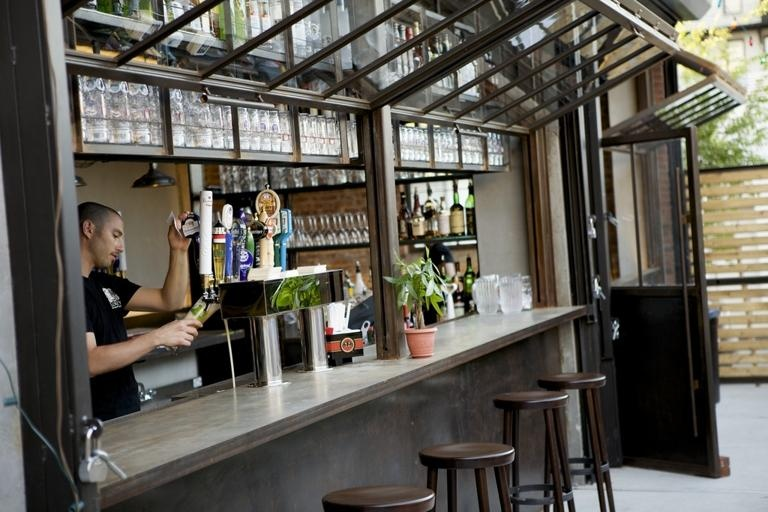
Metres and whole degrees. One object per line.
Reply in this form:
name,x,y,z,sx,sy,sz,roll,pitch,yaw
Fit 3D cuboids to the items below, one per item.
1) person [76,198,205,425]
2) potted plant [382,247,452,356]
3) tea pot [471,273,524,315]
person,-1.112,0.232,3.172,0.479,1.060,1.037,-5,2,-22
potted plant,0.053,0.237,3.532,0.472,0.633,0.417,0,-5,-15
tea pot,0.792,0.258,4.737,0.326,0.242,0.227,-2,-4,24
